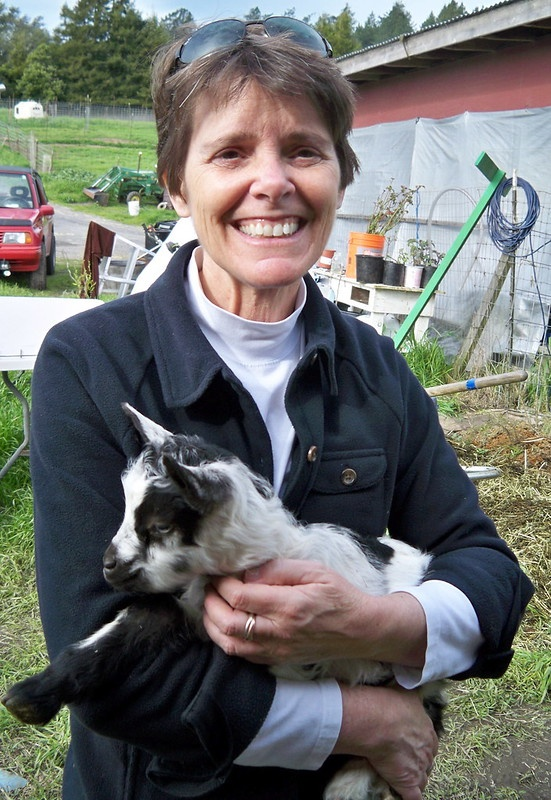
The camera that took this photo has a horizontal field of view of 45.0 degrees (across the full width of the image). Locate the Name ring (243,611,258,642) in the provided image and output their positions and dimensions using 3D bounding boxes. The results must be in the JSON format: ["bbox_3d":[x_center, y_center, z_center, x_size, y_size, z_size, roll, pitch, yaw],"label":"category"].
[{"bbox_3d":[-0.049,0.422,1.240,0.015,0.035,0.028,6,-4,-7],"label":"Name ring"}]

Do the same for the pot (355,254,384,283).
[{"bbox_3d":[1.146,-1.573,8.117,0.389,0.352,0.345,3,7,22],"label":"pot"}]

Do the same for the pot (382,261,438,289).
[{"bbox_3d":[1.582,-1.458,7.931,0.620,0.261,0.707,3,1,1],"label":"pot"}]
